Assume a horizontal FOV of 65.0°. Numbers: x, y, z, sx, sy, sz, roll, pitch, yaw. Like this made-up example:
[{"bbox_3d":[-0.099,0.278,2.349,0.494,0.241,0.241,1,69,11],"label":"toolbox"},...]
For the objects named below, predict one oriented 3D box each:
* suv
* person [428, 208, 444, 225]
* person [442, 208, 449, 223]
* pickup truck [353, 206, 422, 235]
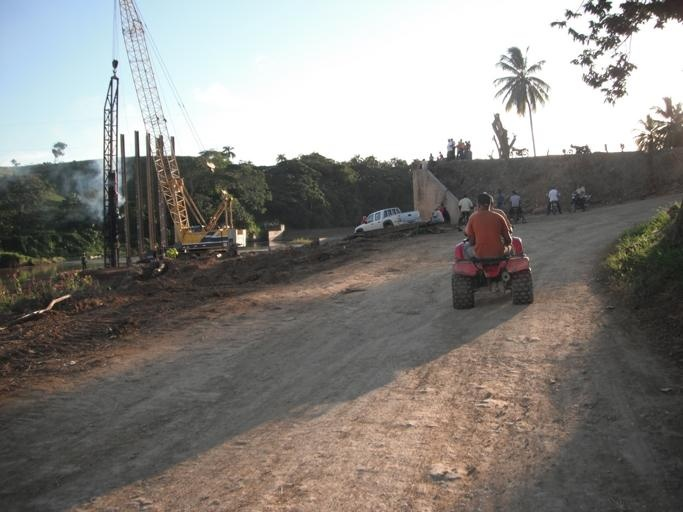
[{"bbox_3d":[3.100,0.341,11.361,0.959,1.319,1.930,-1,7,11],"label":"suv"},{"bbox_3d":[5.057,-1.930,28.254,0.599,0.386,0.976,-13,46,8],"label":"person"},{"bbox_3d":[5.811,-2.161,29.882,0.291,1.130,0.373,0,2,-44],"label":"person"},{"bbox_3d":[2.416,-1.955,30.644,3.118,1.370,1.794,-2,14,43],"label":"pickup truck"}]
